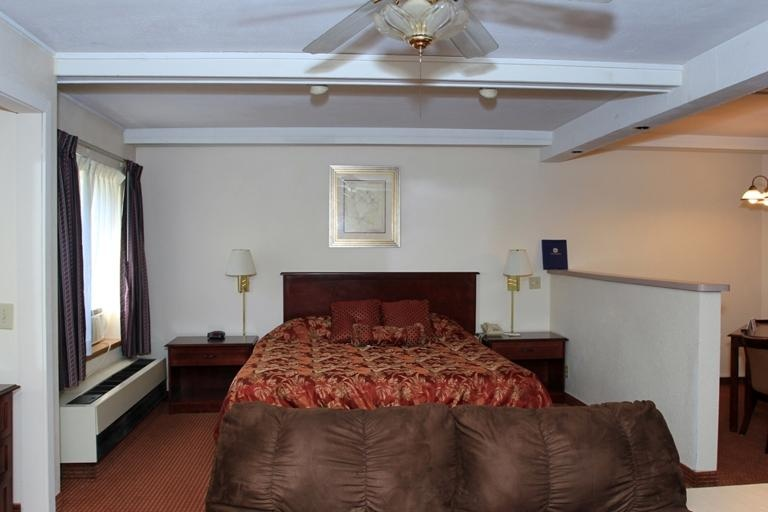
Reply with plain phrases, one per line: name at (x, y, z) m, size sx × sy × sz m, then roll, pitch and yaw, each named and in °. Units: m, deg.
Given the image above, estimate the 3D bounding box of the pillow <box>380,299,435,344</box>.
pillow at (0.274, 0.723, 6.369) m, size 0.450 × 0.438 × 0.196 m, roll 3°, pitch -41°, yaw -1°

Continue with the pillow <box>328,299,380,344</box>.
pillow at (-0.347, 0.681, 6.185) m, size 0.465 × 0.166 × 0.445 m, roll 2°, pitch 42°, yaw 1°

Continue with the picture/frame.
picture/frame at (-0.286, -0.588, 6.656) m, size 1.023 × 1.087 × 0.084 m, roll 0°, pitch 0°, yaw -1°

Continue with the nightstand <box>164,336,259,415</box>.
nightstand at (-1.937, 1.315, 6.409) m, size 0.907 × 0.737 × 0.576 m, roll 0°, pitch 3°, yaw -8°

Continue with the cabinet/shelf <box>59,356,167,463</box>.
cabinet/shelf at (-2.766, 1.520, 5.977) m, size 0.377 × 0.505 × 2.182 m, roll -1°, pitch 2°, yaw -5°

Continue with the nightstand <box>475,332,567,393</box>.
nightstand at (1.568, 1.434, 6.720) m, size 1.081 × 0.947 × 0.671 m, roll 0°, pitch 2°, yaw -4°
